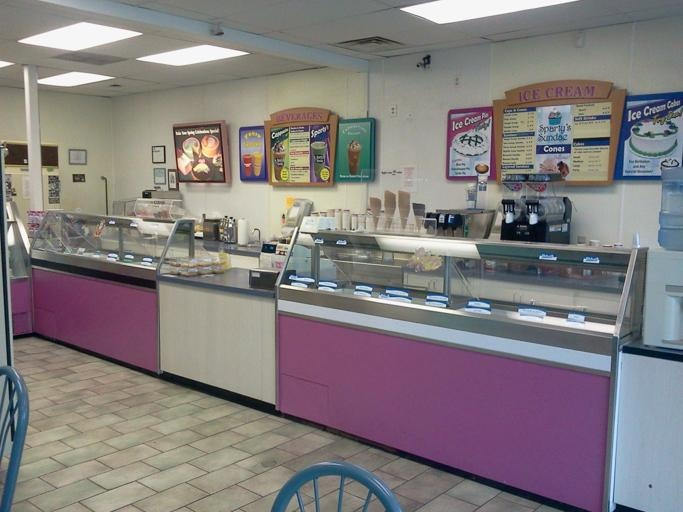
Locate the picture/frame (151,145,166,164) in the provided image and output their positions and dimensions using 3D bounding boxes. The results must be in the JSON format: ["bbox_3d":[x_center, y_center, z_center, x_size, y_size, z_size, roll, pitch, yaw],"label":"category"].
[{"bbox_3d":[-3.150,-1.756,8.739,0.305,0.290,0.032,11,14,38],"label":"picture/frame"}]

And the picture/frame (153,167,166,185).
[{"bbox_3d":[-3.134,-1.385,8.746,0.297,0.296,0.022,6,10,42],"label":"picture/frame"}]

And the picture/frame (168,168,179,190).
[{"bbox_3d":[-2.823,-1.299,8.515,0.345,0.463,0.036,6,11,43],"label":"picture/frame"}]

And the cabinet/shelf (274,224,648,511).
[{"bbox_3d":[0.741,0.728,3.129,1.673,1.004,0.538,6,6,38],"label":"cabinet/shelf"}]

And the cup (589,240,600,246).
[{"bbox_3d":[2.127,-0.108,4.241,0.067,0.043,0.112,2,3,-5],"label":"cup"}]

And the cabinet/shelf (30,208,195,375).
[{"bbox_3d":[-2.509,0.319,5.571,2.026,1.438,0.685,7,9,28],"label":"cabinet/shelf"}]
